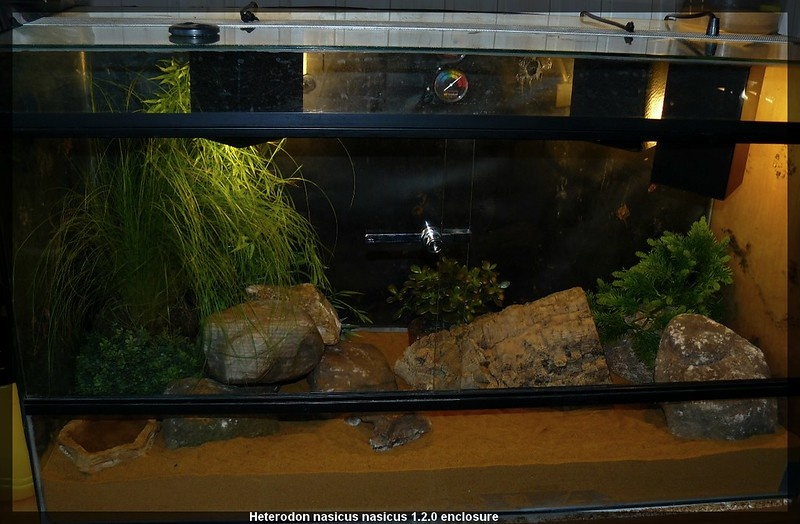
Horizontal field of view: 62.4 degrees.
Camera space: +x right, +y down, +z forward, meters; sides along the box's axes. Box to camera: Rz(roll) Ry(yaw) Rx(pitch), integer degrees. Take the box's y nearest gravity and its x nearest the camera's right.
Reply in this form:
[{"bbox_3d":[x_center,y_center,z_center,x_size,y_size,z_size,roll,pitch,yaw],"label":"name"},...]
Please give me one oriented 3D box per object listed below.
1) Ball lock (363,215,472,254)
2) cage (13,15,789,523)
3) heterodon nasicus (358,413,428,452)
[{"bbox_3d":[0.083,-0.119,3.092,0.493,0.143,0.047,1,17,2],"label":"Ball lock"},{"bbox_3d":[0.006,0.114,3.168,3.729,2.255,1.039,-4,18,-12],"label":"cage"},{"bbox_3d":[-0.045,0.803,3.408,0.380,0.160,0.370,2,16,-13],"label":"heterodon nasicus"}]
